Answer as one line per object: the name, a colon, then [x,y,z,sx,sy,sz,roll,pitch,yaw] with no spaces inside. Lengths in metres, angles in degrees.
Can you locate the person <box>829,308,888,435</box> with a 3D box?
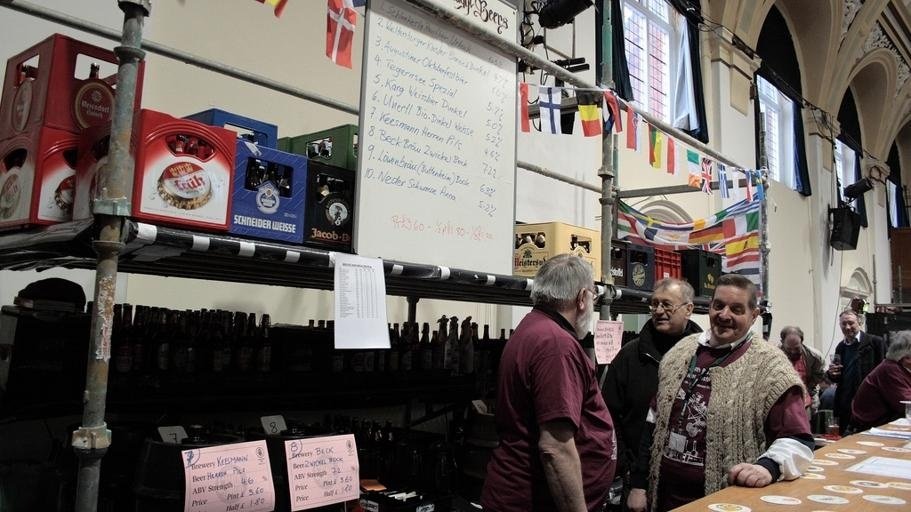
person: [5.636,1.886,9.468,0.683,2.164,0.761,17,-15,-36]

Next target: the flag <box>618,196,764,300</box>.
flag: [2.905,0.066,8.476,1.325,0.932,1.305,5,-9,-29]
